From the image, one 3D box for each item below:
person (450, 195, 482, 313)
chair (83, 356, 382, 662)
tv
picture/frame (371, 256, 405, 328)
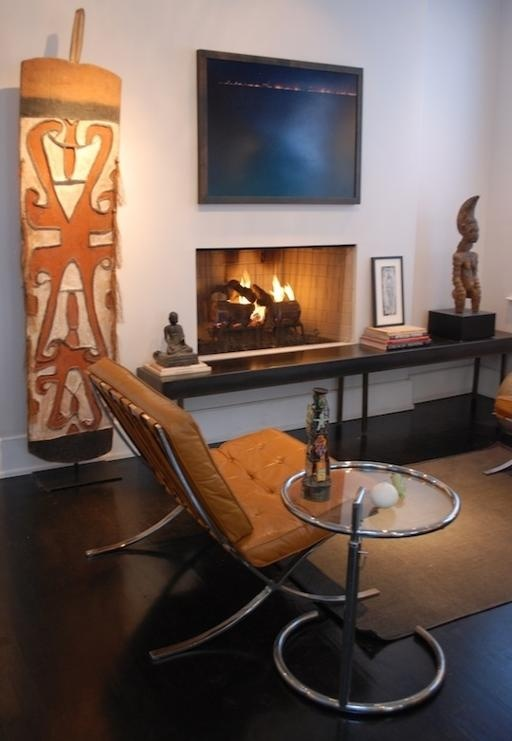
[{"bbox_3d":[1.501,-0.815,4.127,0.201,0.807,0.297,7,12,36],"label":"person"},{"bbox_3d":[0.128,0.358,2.174,0.719,0.616,0.748,15,6,15],"label":"chair"},{"bbox_3d":[0.100,-1.449,3.383,1.036,0.745,0.037,-8,17,-30],"label":"tv"},{"bbox_3d":[0.893,-0.550,3.997,0.436,0.590,0.040,-9,11,-38],"label":"picture/frame"}]
